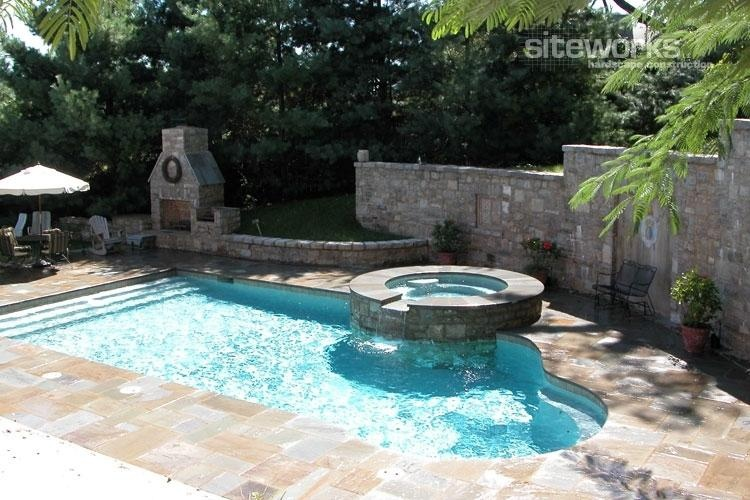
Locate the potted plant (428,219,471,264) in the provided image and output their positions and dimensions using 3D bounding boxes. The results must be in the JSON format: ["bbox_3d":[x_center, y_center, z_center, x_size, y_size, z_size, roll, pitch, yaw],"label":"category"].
[{"bbox_3d":[2.467,-0.234,17.637,1.267,1.571,1.250,-5,4,-26],"label":"potted plant"}]

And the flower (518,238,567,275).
[{"bbox_3d":[4.625,0.204,15.274,0.721,1.010,1.109,-8,15,-30],"label":"flower"}]

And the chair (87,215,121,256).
[{"bbox_3d":[-9.607,-0.565,19.042,1.148,1.303,0.828,10,17,38],"label":"chair"}]

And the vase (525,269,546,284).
[{"bbox_3d":[4.536,0.721,15.038,0.422,0.329,0.433,0,3,-1],"label":"vase"}]

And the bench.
[{"bbox_3d":[5.840,0.903,12.663,0.935,1.061,1.296,-9,9,-12],"label":"bench"}]
